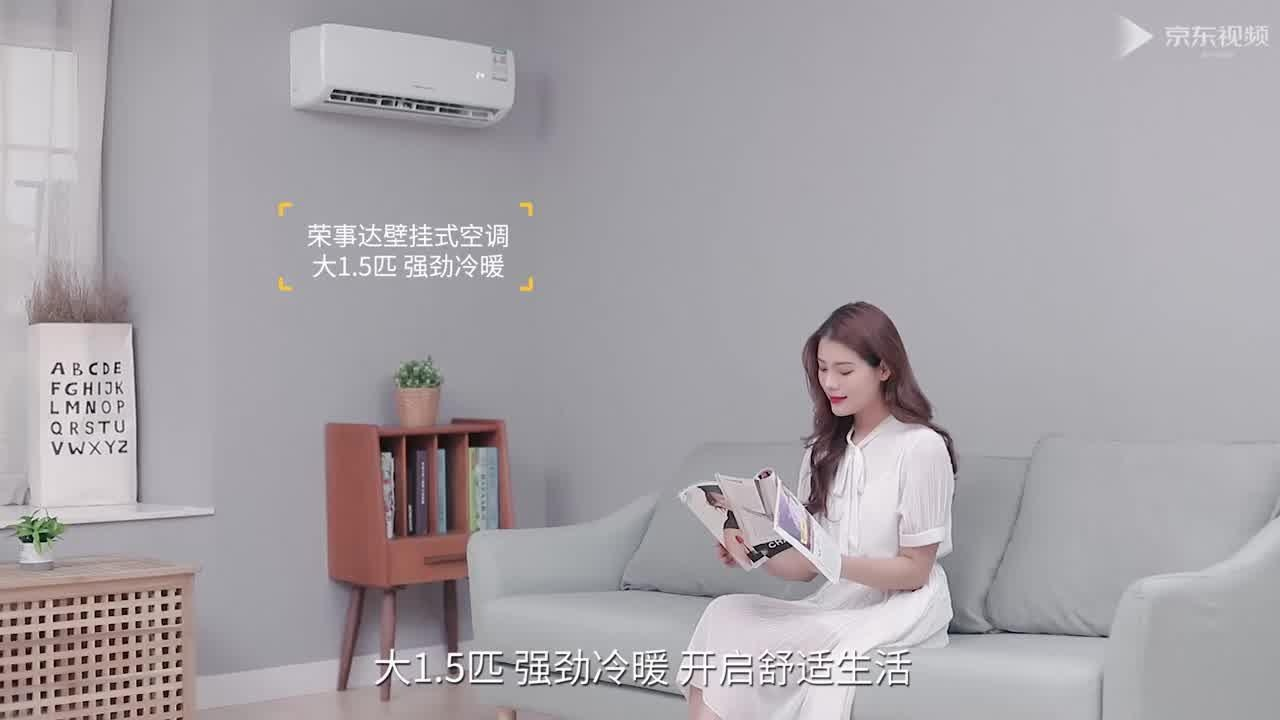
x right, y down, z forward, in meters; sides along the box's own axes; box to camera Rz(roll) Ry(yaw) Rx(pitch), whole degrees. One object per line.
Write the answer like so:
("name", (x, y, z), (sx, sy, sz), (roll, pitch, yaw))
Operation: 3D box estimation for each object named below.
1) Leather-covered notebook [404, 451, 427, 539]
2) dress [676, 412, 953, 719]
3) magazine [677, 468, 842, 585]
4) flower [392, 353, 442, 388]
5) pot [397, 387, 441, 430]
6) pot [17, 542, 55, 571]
("Leather-covered notebook", (-0.959, 0.585, 4.001), (0.073, 0.273, 0.293), (-2, 2, -18))
("dress", (0.544, 0.658, 2.798), (0.670, 0.942, 0.718), (20, -23, -27))
("magazine", (0.362, 0.461, 2.650), (0.321, 0.313, 0.378), (1, -2, -29))
("flower", (-0.963, 0.046, 4.036), (0.169, 0.100, 0.164), (-2, -5, 44))
("pot", (-0.958, 0.200, 4.004), (0.198, 0.130, 0.166), (-1, -4, 3))
("pot", (-2.087, 0.677, 3.202), (0.105, 0.071, 0.099), (0, -6, 0))
